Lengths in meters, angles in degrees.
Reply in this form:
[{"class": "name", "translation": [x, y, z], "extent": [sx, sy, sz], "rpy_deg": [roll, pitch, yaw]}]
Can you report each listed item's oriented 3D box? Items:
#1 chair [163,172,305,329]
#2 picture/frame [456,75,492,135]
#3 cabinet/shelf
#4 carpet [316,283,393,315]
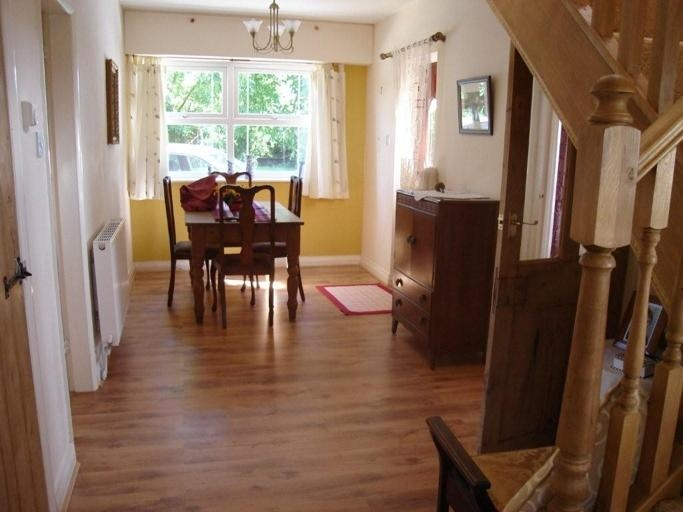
[{"class": "chair", "translation": [-0.866, -0.077, 4.788], "extent": [1.048, 1.195, 1.249], "rpy_deg": [-9, 17, -36]}, {"class": "picture/frame", "translation": [0.977, -1.107, 4.135], "extent": [0.016, 0.410, 0.381], "rpy_deg": [-13, 17, -23]}, {"class": "cabinet/shelf", "translation": [0.730, 0.179, 3.816], "extent": [0.472, 1.360, 0.945], "rpy_deg": [0, 11, -7]}, {"class": "carpet", "translation": [0.138, 0.419, 5.367], "extent": [0.714, 0.044, 0.854], "rpy_deg": [0, 15, -7]}]
